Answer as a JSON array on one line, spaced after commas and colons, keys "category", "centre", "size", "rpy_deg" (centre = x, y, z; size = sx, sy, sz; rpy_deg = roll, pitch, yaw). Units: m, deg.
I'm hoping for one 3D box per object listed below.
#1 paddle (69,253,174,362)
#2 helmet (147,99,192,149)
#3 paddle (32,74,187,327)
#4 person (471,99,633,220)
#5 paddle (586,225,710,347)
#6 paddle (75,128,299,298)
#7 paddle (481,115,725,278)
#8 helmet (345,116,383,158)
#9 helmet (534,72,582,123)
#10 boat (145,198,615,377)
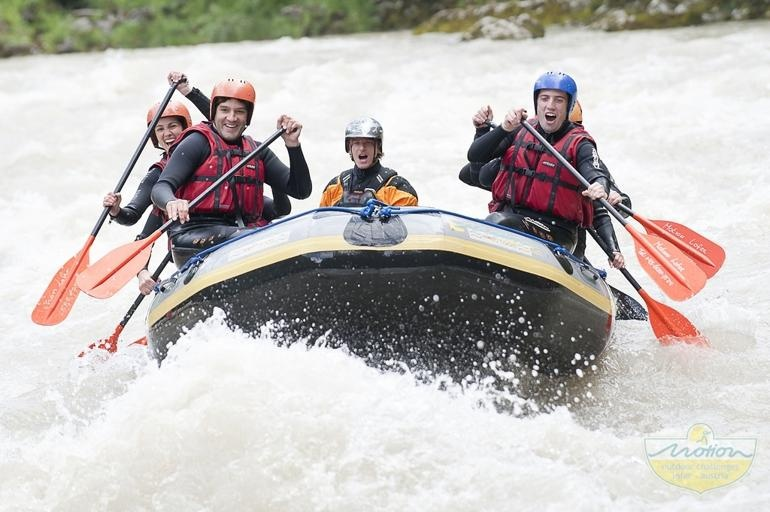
[{"category": "paddle", "centre": [-2.882, 0.589, 9.209], "size": [0.337, 0.084, 1.589], "rpy_deg": [41, 84, -6]}, {"category": "helmet", "centre": [-2.435, -1.498, 9.592], "size": [0.435, 0.505, 0.481], "rpy_deg": [-3, 75, -50]}, {"category": "paddle", "centre": [-3.786, -0.696, 11.344], "size": [0.640, 0.382, 4.339], "rpy_deg": [16, 71, 35]}, {"category": "person", "centre": [1.476, -1.140, 8.442], "size": [1.066, 0.610, 1.628], "rpy_deg": [-10, 96, -24]}, {"category": "paddle", "centre": [2.759, 0.412, 9.119], "size": [0.341, 0.118, 1.608], "rpy_deg": [-15, 30, -6]}, {"category": "paddle", "centre": [-2.095, -0.391, 8.949], "size": [3.520, 0.238, 0.511], "rpy_deg": [-41, 58, -4]}, {"category": "paddle", "centre": [2.517, -0.618, 9.603], "size": [3.512, 0.579, 0.248], "rpy_deg": [40, 40, 17]}, {"category": "helmet", "centre": [-0.254, -1.141, 8.504], "size": [0.339, 0.452, 0.353], "rpy_deg": [5, 83, -13]}, {"category": "helmet", "centre": [1.701, -1.608, 8.433], "size": [0.365, 0.476, 0.430], "rpy_deg": [6, 72, 15]}, {"category": "boat", "centre": [0.558, 0.563, 9.268], "size": [3.435, 4.588, 1.361], "rpy_deg": [2, 83, 15]}]
